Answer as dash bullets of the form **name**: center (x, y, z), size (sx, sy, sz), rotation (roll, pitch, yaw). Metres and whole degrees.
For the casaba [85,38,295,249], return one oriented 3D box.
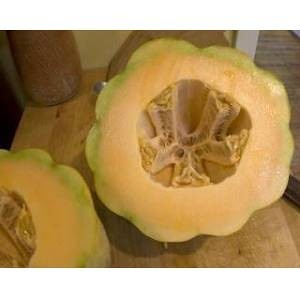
- **casaba**: center (0.095, -0.031, 0.703), size (0.496, 0.205, 0.454), rotation (-2, 57, -3)
